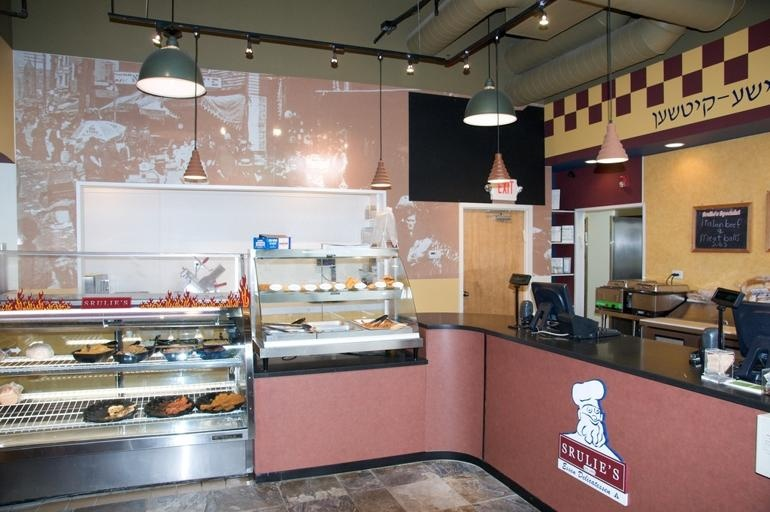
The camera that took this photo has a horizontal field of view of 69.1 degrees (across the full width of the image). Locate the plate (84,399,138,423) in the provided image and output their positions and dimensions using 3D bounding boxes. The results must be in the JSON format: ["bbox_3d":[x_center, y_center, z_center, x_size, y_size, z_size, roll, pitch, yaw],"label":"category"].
[{"bbox_3d":[-2.436,1.390,4.977,0.243,0.040,0.243,21,24,33],"label":"plate"}]

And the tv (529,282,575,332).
[{"bbox_3d":[1.528,0.471,5.189,0.466,0.418,0.343,2,5,32],"label":"tv"}]

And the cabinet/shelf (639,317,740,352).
[{"bbox_3d":[3.546,0.887,6.603,0.312,0.298,1.252,-3,5,-25],"label":"cabinet/shelf"}]

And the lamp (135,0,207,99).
[{"bbox_3d":[-1.890,-1.835,5.021,0.525,0.877,1.128,-2,5,-14],"label":"lamp"}]

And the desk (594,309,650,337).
[{"bbox_3d":[3.184,0.840,7.496,0.340,0.420,0.451,1,0,-22],"label":"desk"}]
